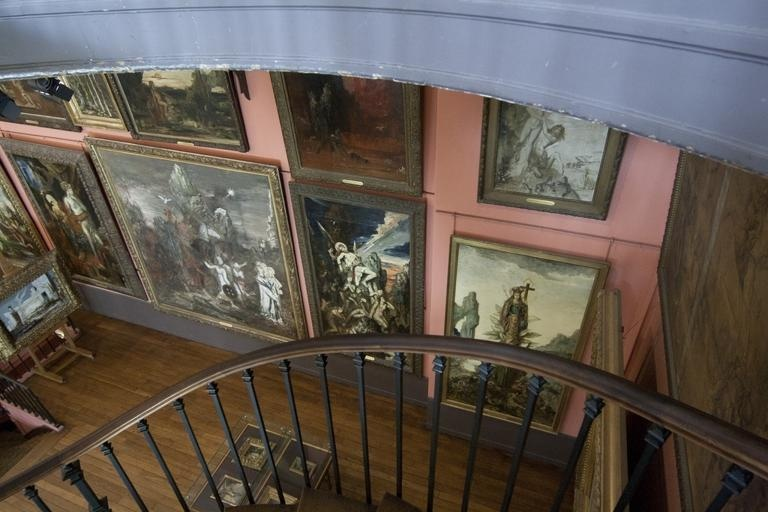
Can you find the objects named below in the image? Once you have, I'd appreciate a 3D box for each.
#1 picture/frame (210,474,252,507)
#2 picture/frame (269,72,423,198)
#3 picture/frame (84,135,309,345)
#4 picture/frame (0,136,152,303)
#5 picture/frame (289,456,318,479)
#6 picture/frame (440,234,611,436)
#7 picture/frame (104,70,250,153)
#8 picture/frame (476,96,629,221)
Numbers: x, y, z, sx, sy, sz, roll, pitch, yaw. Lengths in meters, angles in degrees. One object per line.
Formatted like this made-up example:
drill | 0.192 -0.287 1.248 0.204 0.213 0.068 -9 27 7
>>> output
picture/frame | -1.508 2.363 5.067 0.465 0.145 0.265 13 12 39
picture/frame | -0.316 -1.146 4.735 1.383 1.354 0.104 9 46 15
picture/frame | -2.261 -0.260 6.311 3.163 2.738 0.198 10 43 15
picture/frame | -4.138 -0.542 6.837 2.222 2.414 0.174 17 49 17
picture/frame | -0.829 2.161 5.230 0.268 0.084 0.219 7 9 11
picture/frame | 1.324 0.861 5.148 1.429 2.081 0.861 9 10 20
picture/frame | -2.113 -1.536 5.340 1.501 0.995 0.068 10 49 13
picture/frame | 1.338 -0.853 4.172 1.113 1.157 0.060 13 56 20
